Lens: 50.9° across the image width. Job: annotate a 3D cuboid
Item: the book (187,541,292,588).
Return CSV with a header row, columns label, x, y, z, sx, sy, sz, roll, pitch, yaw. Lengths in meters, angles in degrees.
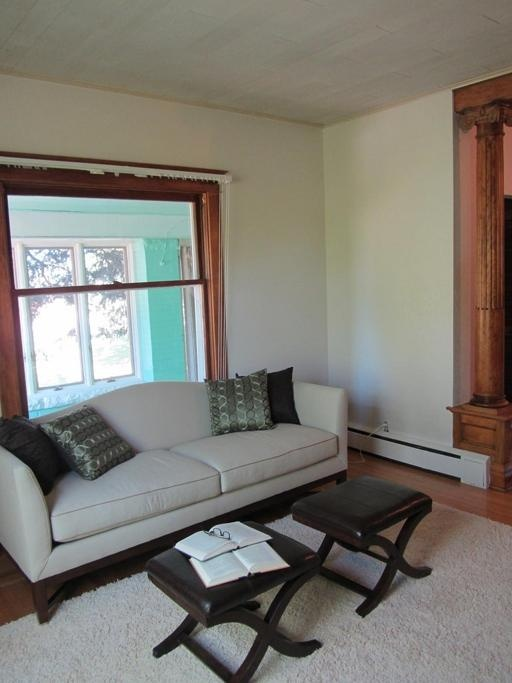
label,x,y,z,sx,sy,sz,roll,pitch,yaw
book,-0.053,0.754,1.837,0.310,0.047,0.208,-5,5,-22
